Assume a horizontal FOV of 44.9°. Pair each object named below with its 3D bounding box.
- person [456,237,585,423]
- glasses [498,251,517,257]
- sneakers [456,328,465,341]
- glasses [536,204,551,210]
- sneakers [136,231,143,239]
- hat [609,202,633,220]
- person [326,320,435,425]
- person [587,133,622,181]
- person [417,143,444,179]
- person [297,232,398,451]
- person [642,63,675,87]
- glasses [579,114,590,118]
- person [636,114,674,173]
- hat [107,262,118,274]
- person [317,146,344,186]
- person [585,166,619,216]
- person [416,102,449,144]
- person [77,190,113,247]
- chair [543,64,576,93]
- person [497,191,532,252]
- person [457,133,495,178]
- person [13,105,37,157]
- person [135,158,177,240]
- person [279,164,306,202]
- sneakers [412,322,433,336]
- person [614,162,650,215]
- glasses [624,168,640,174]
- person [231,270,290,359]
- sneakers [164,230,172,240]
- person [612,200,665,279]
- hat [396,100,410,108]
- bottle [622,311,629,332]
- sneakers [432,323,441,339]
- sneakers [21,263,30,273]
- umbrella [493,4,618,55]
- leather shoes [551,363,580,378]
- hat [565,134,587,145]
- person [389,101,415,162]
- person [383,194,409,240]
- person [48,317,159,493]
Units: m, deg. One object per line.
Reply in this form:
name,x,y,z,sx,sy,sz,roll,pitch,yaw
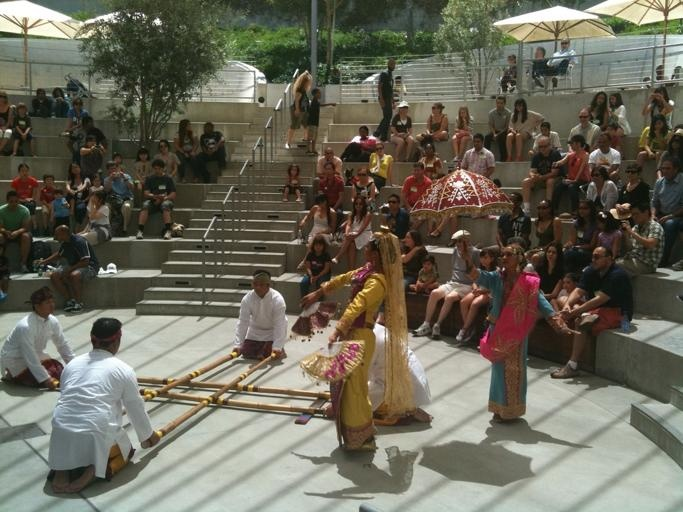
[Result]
person,2.082,0.955,10.107,1.069,2.134,0.511,4,14,15
glasses,2.097,-0.035,10.350,0.137,0.043,0.134,14,-14,-33
sneakers,1.797,1.180,12.446,0.069,0.179,0.092,10,19,-21
glasses,3.199,-0.802,12.972,0.185,0.121,0.090,7,15,26
sneakers,-3.749,-0.405,15.453,0.157,0.162,0.103,-4,-17,11
hat,4.261,-0.692,12.555,0.286,0.114,0.297,-8,12,17
person,0.531,1.580,10.221,1.090,1.443,1.367,-1,3,8
person,4.408,-1.625,14.008,0.615,0.898,0.658,5,18,30
person,1.600,-1.734,15.239,0.498,0.777,0.540,2,-2,3
person,0.226,0.960,9.701,1.297,2.500,0.781,-11,18,-39
person,6.383,-3.604,16.465,0.655,0.423,1.371,6,15,22
glasses,4.401,-2.539,14.886,0.171,0.101,0.155,1,14,3
person,5.333,-1.863,14.160,0.721,1.107,0.529,-5,13,-30
hat,-4.078,0.206,14.781,0.192,0.209,0.199,-1,-1,-14
person,-0.203,-1.738,15.649,0.600,0.864,0.657,0,9,5
person,4.224,-1.107,13.326,0.433,0.750,0.515,-21,22,-23
person,1.969,-2.751,16.971,0.599,0.791,1.214,13,18,42
person,-4.391,-0.700,15.028,0.840,1.289,0.775,-1,11,-23
chair,4.639,-3.765,17.536,0.588,0.717,0.483,7,17,23
person,2.753,-0.529,13.273,0.548,1.027,0.581,5,16,28
person,2.481,-1.696,15.200,0.628,1.107,0.573,6,11,29
person,-6.624,-2.648,17.191,0.430,1.060,0.575,-5,15,-21
person,-3.514,-1.114,15.797,0.677,1.402,1.153,-1,14,-7
person,-0.942,-1.449,16.089,0.474,0.783,0.642,2,18,-4
sneakers,1.287,1.147,12.934,0.129,0.173,0.390,-3,-2,38
person,4.623,-1.082,13.139,0.458,0.796,0.493,4,5,-35
glasses,4.614,-1.362,13.081,0.190,0.061,0.183,-2,4,-45
person,-1.149,0.845,12.163,0.870,1.488,1.127,1,7,2
sneakers,-3.231,-0.412,15.473,0.144,0.140,0.225,-2,14,-10
person,4.347,-0.282,12.227,0.791,1.098,0.747,5,6,41
hat,1.311,-3.163,17.070,0.368,0.209,0.567,0,6,5
bottle,3.858,0.897,11.179,0.103,0.197,0.225,4,14,14
sneakers,1.485,1.158,12.781,0.198,0.275,0.612,0,-5,9
sneakers,-5.570,0.208,14.653,0.076,0.101,0.210,-1,-1,-40
umbrella,4.986,-5.321,19.111,1.787,0.774,1.754,-1,17,-27
leather shoes,3.080,1.563,11.349,0.369,0.170,0.176,0,1,-4
hat,4.040,-1.995,14.188,0.245,0.225,0.189,32,31,21
person,1.271,-2.556,16.884,0.503,1.134,0.557,1,14,3
person,0.943,-0.645,14.083,0.511,0.814,0.512,5,6,29
person,-2.706,1.634,9.216,1.102,1.750,0.654,-5,15,-23
